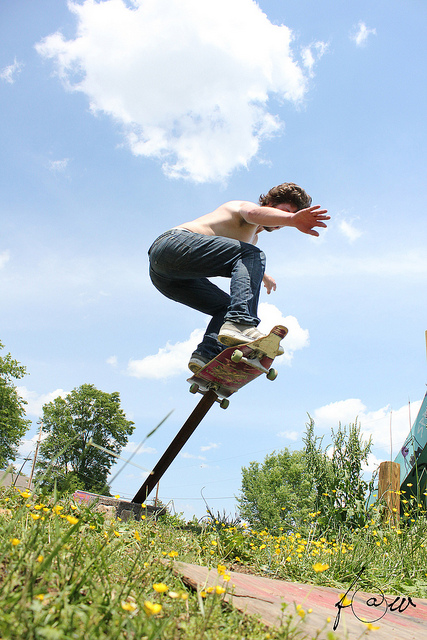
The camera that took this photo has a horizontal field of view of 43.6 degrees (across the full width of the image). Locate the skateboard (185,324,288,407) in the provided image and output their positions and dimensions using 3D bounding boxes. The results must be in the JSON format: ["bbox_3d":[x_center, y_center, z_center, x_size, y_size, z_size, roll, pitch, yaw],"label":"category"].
[{"bbox_3d":[0.153,0.340,3.739,0.381,0.194,1.001,29,-44,-21],"label":"skateboard"}]

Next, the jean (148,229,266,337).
[{"bbox_3d":[-0.084,-0.280,3.975,0.794,0.784,1.056,2,-9,-8],"label":"jean"}]

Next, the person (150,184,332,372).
[{"bbox_3d":[0.085,-0.280,3.654,0.880,0.963,1.225,8,21,-3],"label":"person"}]
